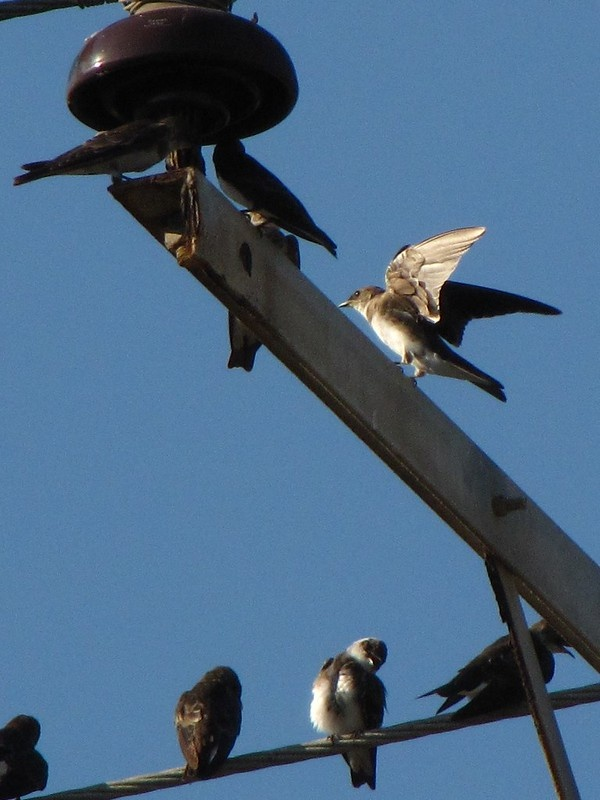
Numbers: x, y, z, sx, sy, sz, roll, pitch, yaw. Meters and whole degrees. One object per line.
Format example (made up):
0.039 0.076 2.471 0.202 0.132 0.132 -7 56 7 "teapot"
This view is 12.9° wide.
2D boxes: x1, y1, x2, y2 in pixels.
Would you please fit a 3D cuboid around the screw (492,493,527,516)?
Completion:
0.598 0.289 7.255 0.100 0.060 0.042 -9 -37 -2 "screw"

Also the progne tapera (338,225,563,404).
0.439 -0.235 8.487 0.648 0.431 0.778 19 -20 7 "progne tapera"
